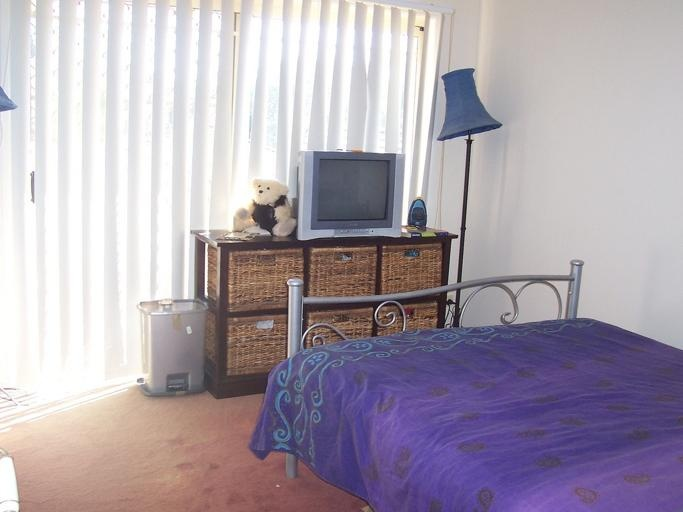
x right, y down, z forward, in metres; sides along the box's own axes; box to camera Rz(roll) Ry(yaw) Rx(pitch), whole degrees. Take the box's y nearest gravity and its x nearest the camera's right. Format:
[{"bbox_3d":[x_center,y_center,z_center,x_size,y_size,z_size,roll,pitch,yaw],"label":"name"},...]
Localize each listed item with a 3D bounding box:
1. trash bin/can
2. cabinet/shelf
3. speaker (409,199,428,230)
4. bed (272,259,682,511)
[{"bbox_3d":[-0.938,0.503,3.370,0.558,0.614,0.507,-1,14,-15],"label":"trash bin/can"},{"bbox_3d":[-0.101,0.326,3.581,1.642,0.914,0.561,-2,7,-28],"label":"cabinet/shelf"},{"bbox_3d":[0.510,-0.290,3.654,0.121,0.211,0.121,2,5,7],"label":"speaker"},{"bbox_3d":[0.429,0.512,2.865,1.715,1.041,1.063,0,5,-21],"label":"bed"}]
